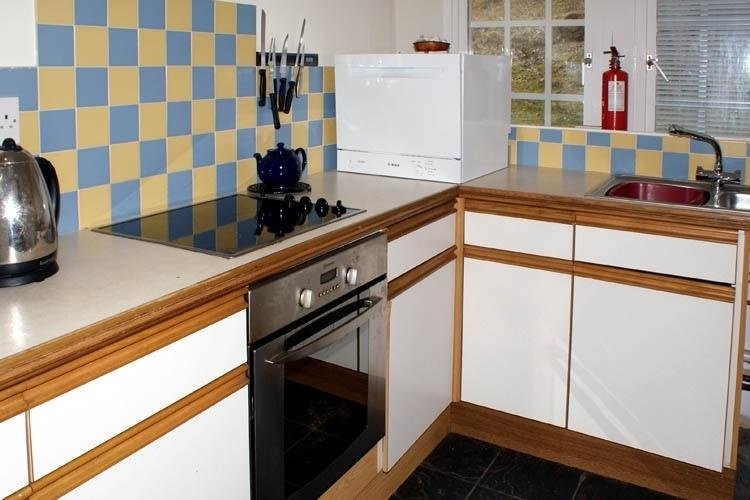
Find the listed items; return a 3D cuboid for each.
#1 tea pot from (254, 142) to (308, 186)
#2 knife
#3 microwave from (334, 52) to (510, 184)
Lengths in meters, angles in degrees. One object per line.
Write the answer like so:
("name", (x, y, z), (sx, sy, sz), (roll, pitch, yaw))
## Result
("tea pot", (-0.368, -0.377, 2.406), (0.211, 0.194, 0.235), (14, 18, 31))
("knife", (-0.388, -0.808, 2.520), (0.159, 0.494, 0.389), (6, 19, 18))
("microwave", (0.230, -0.610, 2.788), (0.753, 0.672, 0.704), (13, 19, 36))
